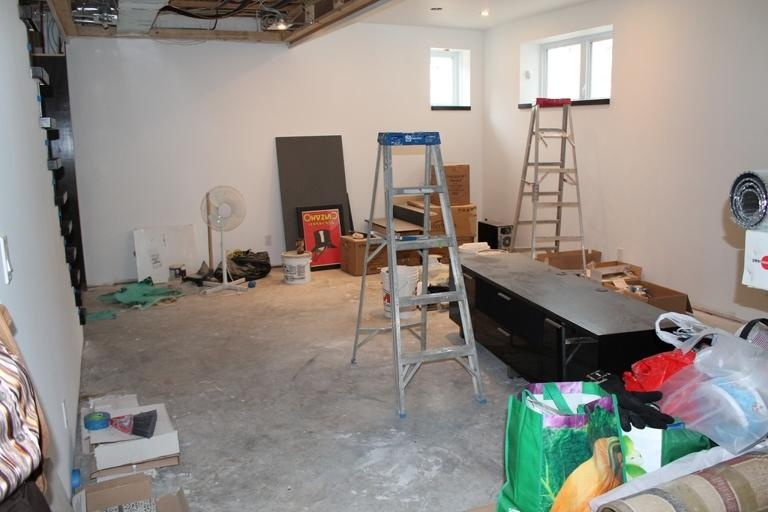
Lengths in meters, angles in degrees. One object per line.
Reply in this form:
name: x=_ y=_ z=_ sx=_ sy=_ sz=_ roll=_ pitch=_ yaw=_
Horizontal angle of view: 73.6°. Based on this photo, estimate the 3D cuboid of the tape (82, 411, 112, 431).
tape: x=-1.871 y=1.065 z=3.337 sx=0.144 sy=0.069 sz=0.143 roll=2 pitch=13 yaw=-1

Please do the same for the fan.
fan: x=-2.135 y=-0.256 z=6.818 sx=0.622 sy=1.333 sz=0.795 roll=-6 pitch=12 yaw=-15

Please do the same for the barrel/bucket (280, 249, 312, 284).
barrel/bucket: x=-1.193 y=0.149 z=7.071 sx=0.398 sy=0.388 sz=0.384 roll=1 pitch=10 yaw=0

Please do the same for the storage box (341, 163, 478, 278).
storage box: x=0.268 y=-0.418 z=6.354 sx=1.615 sy=1.330 sz=0.662 roll=-6 pitch=16 yaw=-21

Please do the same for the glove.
glove: x=1.183 y=0.655 z=2.424 sx=0.238 sy=0.071 sz=0.236 roll=11 pitch=5 yaw=-10

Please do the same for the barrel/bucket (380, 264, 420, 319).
barrel/bucket: x=0.180 y=0.400 z=5.434 sx=0.441 sy=0.473 sz=0.442 roll=-1 pitch=8 yaw=0

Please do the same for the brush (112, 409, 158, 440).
brush: x=-1.606 y=1.090 z=3.352 sx=0.292 sy=0.176 sz=0.157 roll=-3 pitch=33 yaw=-1

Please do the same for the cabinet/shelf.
cabinet/shelf: x=1.323 y=0.602 z=4.365 sx=0.716 sy=0.791 sz=2.091 roll=-3 pitch=13 yaw=-15

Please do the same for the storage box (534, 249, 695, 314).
storage box: x=2.618 y=0.251 z=5.649 sx=0.736 sy=0.444 sz=1.350 roll=-5 pitch=15 yaw=-18
